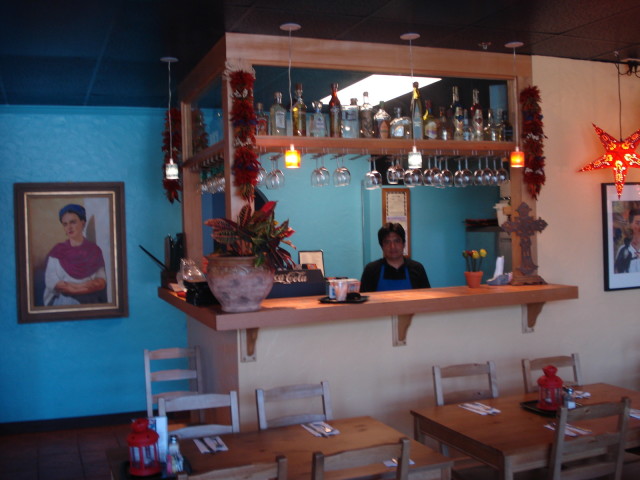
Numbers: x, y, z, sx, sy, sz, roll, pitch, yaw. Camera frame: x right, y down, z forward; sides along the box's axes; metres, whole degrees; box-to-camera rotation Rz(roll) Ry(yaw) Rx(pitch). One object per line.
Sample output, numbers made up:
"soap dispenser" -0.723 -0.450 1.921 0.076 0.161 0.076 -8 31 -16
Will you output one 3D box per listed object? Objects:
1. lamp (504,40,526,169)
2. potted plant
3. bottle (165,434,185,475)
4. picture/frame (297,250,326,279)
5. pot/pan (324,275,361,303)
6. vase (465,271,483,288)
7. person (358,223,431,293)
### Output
"lamp" 1.797 -1.221 5.241 0.165 1.096 0.393 -3 2 17
"potted plant" -0.482 0.134 4.404 0.826 0.978 0.732 2 -6 -11
"bottle" -0.862 1.260 3.383 0.076 0.090 0.253 2 8 -13
"picture/frame" -0.048 0.289 7.567 0.368 0.336 0.086 3 -12 -26
"pot/pan" 0.166 0.386 4.606 0.221 0.162 0.176 2 -2 -15
"vase" 1.379 0.345 5.169 0.141 0.149 0.198 -3 2 14
"person" 0.796 0.265 6.123 0.889 0.876 0.489 1 1 5
